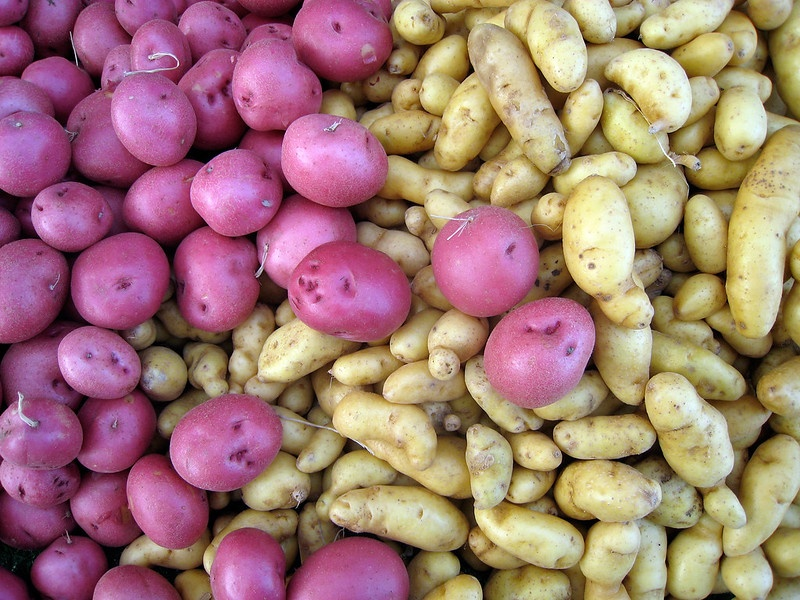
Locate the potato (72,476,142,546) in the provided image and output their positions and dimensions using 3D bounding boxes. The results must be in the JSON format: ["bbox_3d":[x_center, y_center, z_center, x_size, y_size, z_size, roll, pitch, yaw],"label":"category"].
[{"bbox_3d":[-0.845,0.618,2.388,0.146,0.114,0.216,-12,91,2],"label":"potato"}]
